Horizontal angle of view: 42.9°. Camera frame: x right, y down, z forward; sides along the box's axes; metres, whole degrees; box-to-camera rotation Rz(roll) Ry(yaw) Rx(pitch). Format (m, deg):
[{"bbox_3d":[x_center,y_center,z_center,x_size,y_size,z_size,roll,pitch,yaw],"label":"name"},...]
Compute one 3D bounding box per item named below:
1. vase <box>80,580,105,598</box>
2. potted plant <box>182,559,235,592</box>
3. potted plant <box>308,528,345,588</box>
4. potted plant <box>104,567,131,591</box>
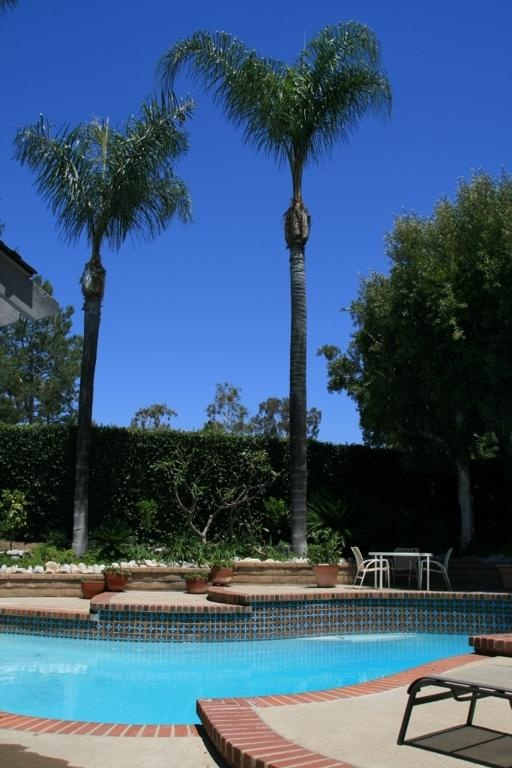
[{"bbox_3d":[-2.802,3.484,11.034,0.380,0.327,0.508,-2,-12,17],"label":"vase"},{"bbox_3d":[-0.869,3.396,11.551,0.753,0.362,0.467,4,-12,-28],"label":"potted plant"},{"bbox_3d":[1.398,3.457,12.843,0.678,1.159,0.737,1,-27,-1],"label":"potted plant"},{"bbox_3d":[-2.419,3.318,11.153,0.372,0.303,0.362,11,-16,-39],"label":"potted plant"}]
